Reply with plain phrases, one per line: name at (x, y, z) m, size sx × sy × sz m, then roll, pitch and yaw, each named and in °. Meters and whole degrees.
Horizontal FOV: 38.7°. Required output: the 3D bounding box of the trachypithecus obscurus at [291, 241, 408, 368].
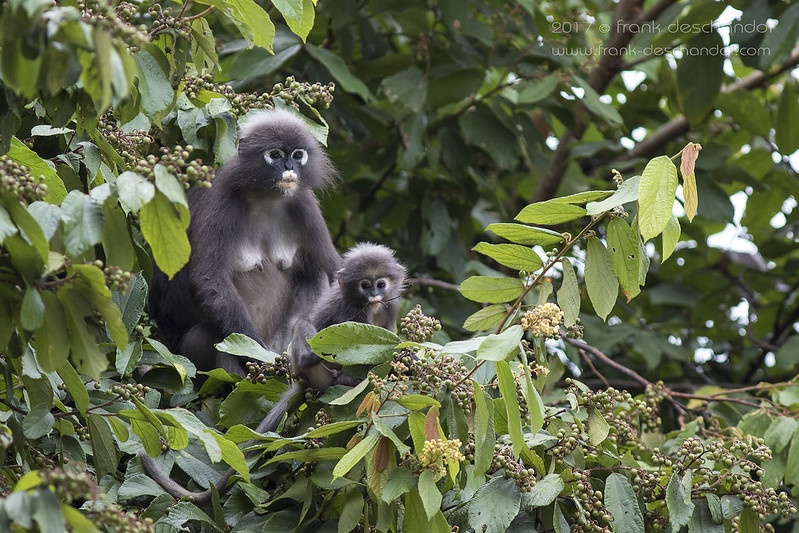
trachypithecus obscurus at (-0.168, 0.206, 5.216) m, size 0.475 × 0.652 × 0.492 m, roll 2°, pitch 14°, yaw -5°
